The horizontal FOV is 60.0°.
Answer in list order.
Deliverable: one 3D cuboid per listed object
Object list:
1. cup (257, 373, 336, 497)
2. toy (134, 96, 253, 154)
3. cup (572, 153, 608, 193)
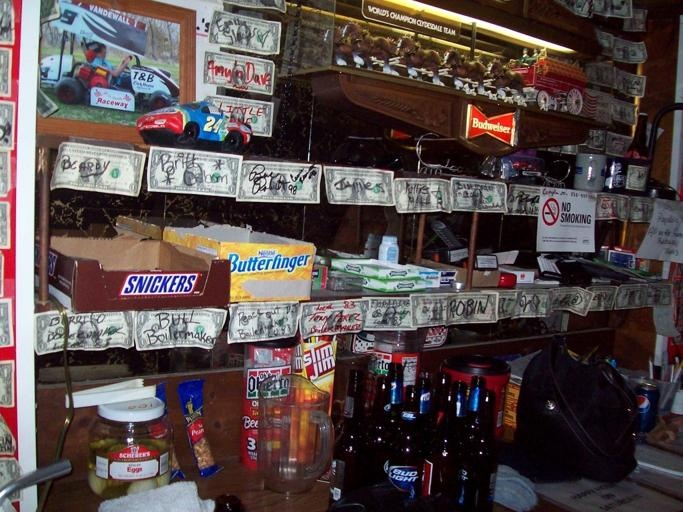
[{"bbox_3d":[-0.149,0.557,1.842,0.222,0.335,0.192,1,4,-9],"label":"cup"},{"bbox_3d":[-0.427,-0.360,1.699,0.250,0.110,0.153,-3,18,-35],"label":"toy"},{"bbox_3d":[1.071,-0.359,2.551,0.135,0.163,0.138,6,5,-1],"label":"cup"}]
